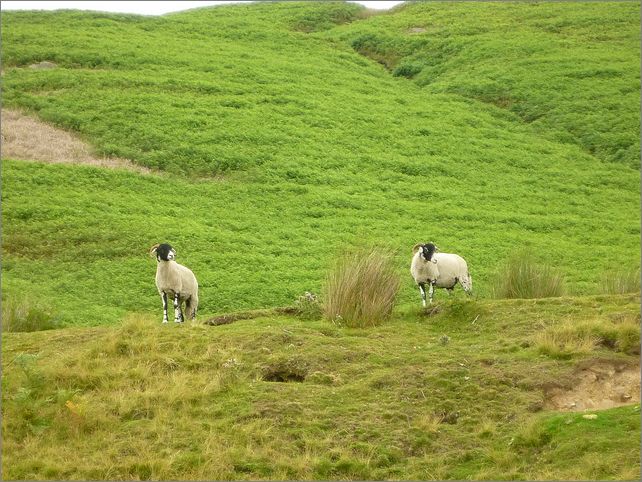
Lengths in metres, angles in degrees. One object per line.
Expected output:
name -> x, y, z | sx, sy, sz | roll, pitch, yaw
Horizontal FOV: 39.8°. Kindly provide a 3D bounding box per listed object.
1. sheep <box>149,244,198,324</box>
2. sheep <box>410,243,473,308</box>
sheep -> -6.077, 1.769, 36.682 | 1.148, 3.454, 1.919 | 6, 9, 35
sheep -> 5.314, 1.592, 39.257 | 2.170, 2.380, 3.967 | -11, -13, 36
